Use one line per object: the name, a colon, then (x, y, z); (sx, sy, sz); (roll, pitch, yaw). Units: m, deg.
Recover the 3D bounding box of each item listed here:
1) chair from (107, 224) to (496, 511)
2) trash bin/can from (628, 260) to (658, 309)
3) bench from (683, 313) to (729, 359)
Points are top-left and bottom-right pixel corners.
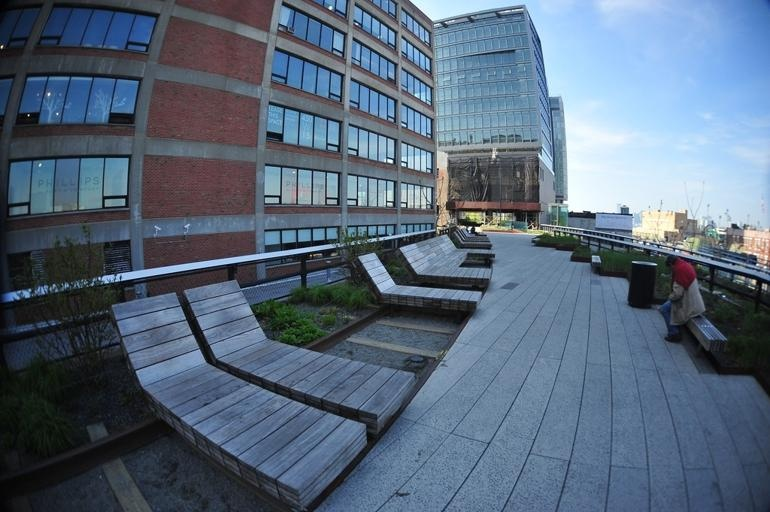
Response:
chair: (-2.060, 1.354, 6.053); (3.646, 1.468, 2.786); (11, 16, 42)
trash bin/can: (6.190, 0.706, 9.793); (0.514, 1.116, 0.405); (5, 11, 28)
bench: (5.835, 1.494, 7.340); (0.431, 0.463, 0.980); (4, 11, 22)
